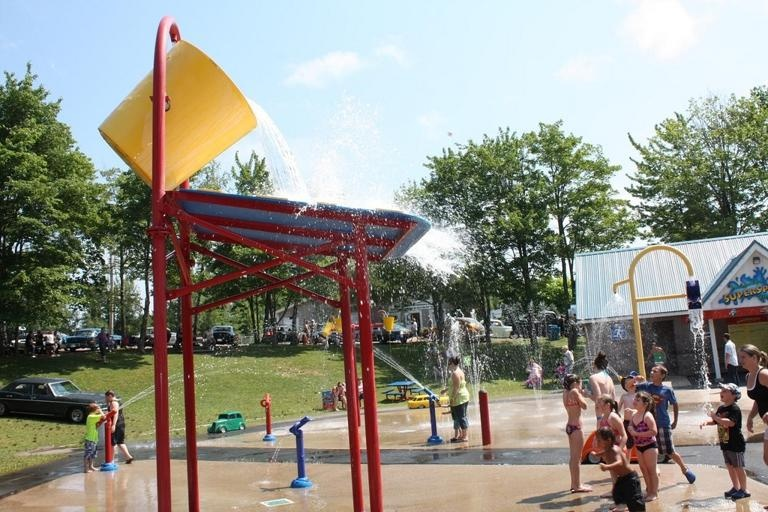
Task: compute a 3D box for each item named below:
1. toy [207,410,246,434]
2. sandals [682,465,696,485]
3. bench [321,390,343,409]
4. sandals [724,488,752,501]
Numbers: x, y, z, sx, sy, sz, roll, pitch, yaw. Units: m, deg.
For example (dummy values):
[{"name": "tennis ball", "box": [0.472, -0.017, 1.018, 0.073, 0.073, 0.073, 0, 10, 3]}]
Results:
[{"name": "toy", "box": [-6.474, 6.899, 26.304, 0.723, 0.658, 1.404, -6, -14, 25]}, {"name": "sandals", "box": [6.785, 4.895, 14.183, 0.189, 0.245, 0.364, -3, 3, 13]}, {"name": "bench", "box": [-2.656, 7.356, 32.516, 1.030, 1.151, 1.052, 2, -11, -11]}, {"name": "sandals", "box": [7.311, 4.948, 13.216, 0.386, 0.172, 0.231, -3, -10, 21]}]
